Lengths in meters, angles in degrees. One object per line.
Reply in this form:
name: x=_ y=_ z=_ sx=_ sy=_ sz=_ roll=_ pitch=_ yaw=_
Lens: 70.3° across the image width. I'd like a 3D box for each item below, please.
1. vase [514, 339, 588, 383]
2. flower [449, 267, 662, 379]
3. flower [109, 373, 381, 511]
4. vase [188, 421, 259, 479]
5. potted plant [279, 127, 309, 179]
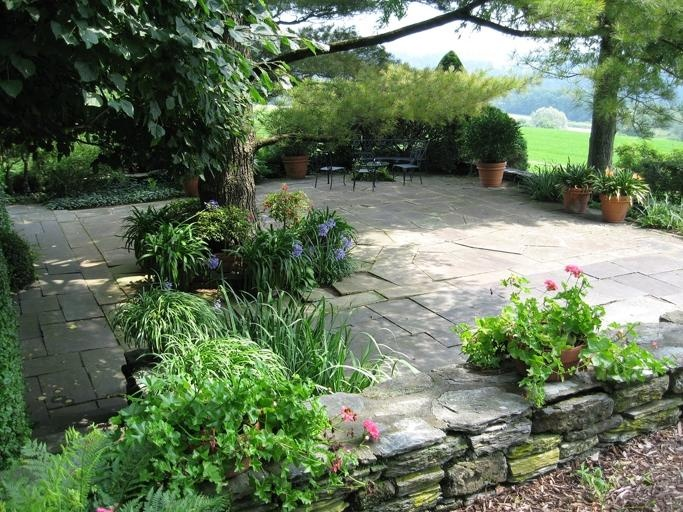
vase: x=1.197 y=0.559 z=2.654 sx=0.300 sy=0.096 sz=0.253 roll=-3 pitch=5 yaw=-4
flower: x=1.247 y=0.354 z=2.756 sx=1.096 sy=0.413 sz=0.696 roll=1 pitch=5 yaw=-7
flower: x=-0.430 y=0.780 z=2.049 sx=0.950 sy=0.334 sz=0.685 roll=6 pitch=13 yaw=-3
vase: x=-0.499 y=0.798 z=2.023 sx=0.290 sy=0.209 sz=0.147 roll=2 pitch=-13 yaw=-17
potted plant: x=-1.210 y=-2.479 z=12.515 sx=0.732 sy=1.017 sz=0.624 roll=-1 pitch=11 yaw=-6
